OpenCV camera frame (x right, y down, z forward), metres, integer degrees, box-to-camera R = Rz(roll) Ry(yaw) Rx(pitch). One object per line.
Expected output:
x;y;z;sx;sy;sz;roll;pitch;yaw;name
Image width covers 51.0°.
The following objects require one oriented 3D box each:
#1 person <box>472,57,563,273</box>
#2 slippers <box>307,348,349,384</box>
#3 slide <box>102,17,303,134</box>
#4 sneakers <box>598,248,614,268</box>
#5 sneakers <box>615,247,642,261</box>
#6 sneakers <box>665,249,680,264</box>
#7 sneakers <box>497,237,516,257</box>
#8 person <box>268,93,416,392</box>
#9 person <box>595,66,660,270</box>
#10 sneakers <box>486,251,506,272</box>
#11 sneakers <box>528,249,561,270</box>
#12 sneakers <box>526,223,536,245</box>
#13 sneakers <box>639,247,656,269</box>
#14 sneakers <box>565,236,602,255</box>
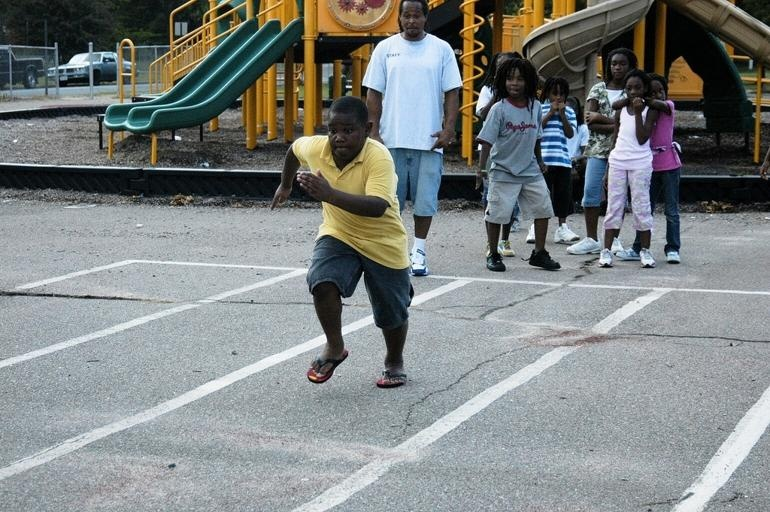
1.327;-0.910;8.070;0.801;2.078;0.542;0;15;5;person
-0.395;0.758;5.387;0.138;0.331;0.098;45;-2;26;slippers
-3.281;-3.626;16.228;3.496;1.677;1.812;-15;15;-20;slide
2.273;0.029;8.259;0.103;0.112;0.257;0;5;10;sneakers
2.609;-0.012;8.690;0.291;0.124;0.103;3;5;4;sneakers
3.007;-0.002;8.373;0.146;0.125;0.235;4;16;19;sneakers
1.333;-0.081;8.780;0.128;0.131;0.304;-2;4;-17;sneakers
-0.209;-0.103;5.375;0.770;1.892;0.861;-3;15;-6;person
2.511;-0.880;8.213;0.553;1.953;0.537;2;15;10;person
1.127;0.067;8.150;0.120;0.110;0.253;-2;5;-13;sneakers
1.668;0.039;8.171;0.378;0.171;0.146;10;15;28;sneakers
1.726;-0.244;9.604;0.130;0.155;0.376;0;2;6;sneakers
2.692;0.020;8.235;0.103;0.113;0.275;-3;12;9;sneakers
2.196;-0.101;8.958;0.421;0.182;0.164;-3;2;-14;sneakers
